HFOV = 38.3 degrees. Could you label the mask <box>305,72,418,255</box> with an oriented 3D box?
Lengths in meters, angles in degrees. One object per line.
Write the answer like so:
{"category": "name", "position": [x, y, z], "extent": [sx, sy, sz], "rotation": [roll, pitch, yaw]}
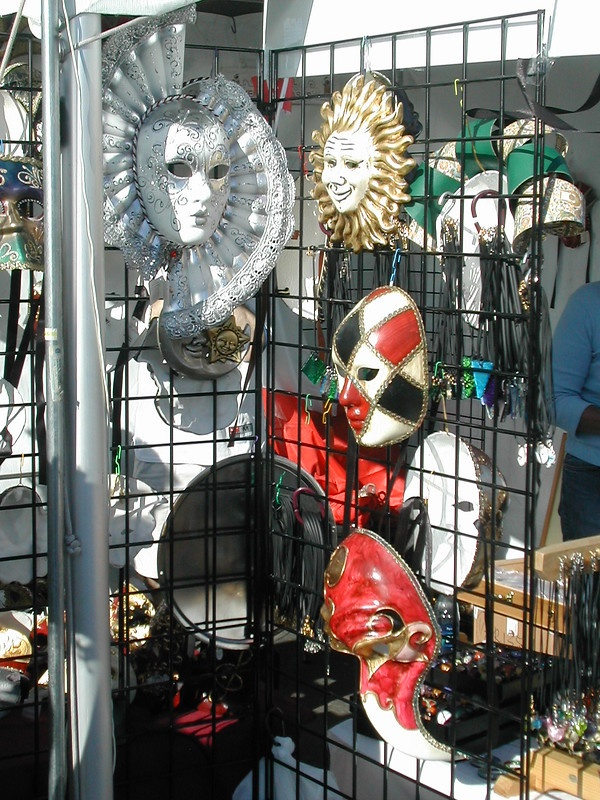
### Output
{"category": "mask", "position": [0.092, -0.362, 1.355], "extent": [0.104, 0.273, 0.245], "rotation": [12, -18, -43]}

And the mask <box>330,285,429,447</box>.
{"category": "mask", "position": [0.116, -0.044, 1.243], "extent": [0.138, 0.215, 0.132], "rotation": [-1, -13, 3]}

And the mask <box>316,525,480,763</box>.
{"category": "mask", "position": [0.125, 0.349, 1.268], "extent": [0.149, 0.378, 0.220], "rotation": [-7, 7, -20]}

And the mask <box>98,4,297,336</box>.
{"category": "mask", "position": [-0.176, -0.356, 1.375], "extent": [0.208, 0.467, 0.335], "rotation": [-11, -17, 40]}

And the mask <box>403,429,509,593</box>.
{"category": "mask", "position": [0.255, 0.193, 1.431], "extent": [0.089, 0.292, 0.201], "rotation": [-7, 20, -30]}
